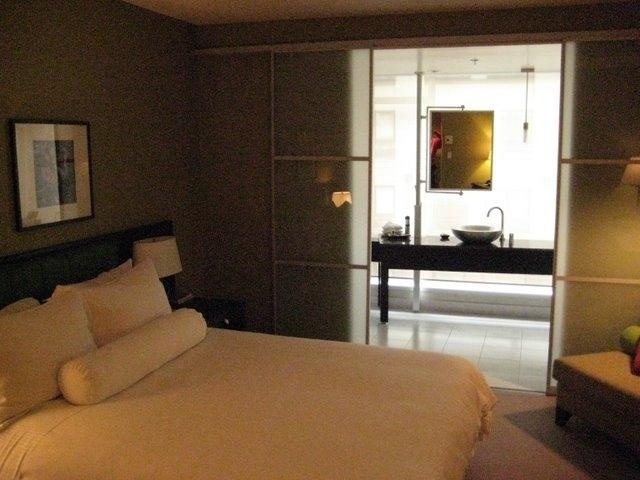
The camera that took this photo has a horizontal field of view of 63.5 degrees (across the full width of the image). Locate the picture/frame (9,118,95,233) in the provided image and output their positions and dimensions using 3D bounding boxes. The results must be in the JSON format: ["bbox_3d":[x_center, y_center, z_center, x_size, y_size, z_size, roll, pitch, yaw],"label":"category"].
[{"bbox_3d":[-1.762,-0.424,3.365,0.057,0.769,0.711,4,7,22],"label":"picture/frame"}]

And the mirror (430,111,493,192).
[{"bbox_3d":[1.648,-1.047,5.918,0.847,1.090,0.047,1,4,13],"label":"mirror"}]

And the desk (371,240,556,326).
[{"bbox_3d":[1.399,0.439,5.089,1.651,0.858,0.560,1,5,13],"label":"desk"}]

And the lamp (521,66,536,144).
[{"bbox_3d":[2.283,-1.496,5.723,0.137,0.810,0.051,4,13,23],"label":"lamp"}]
